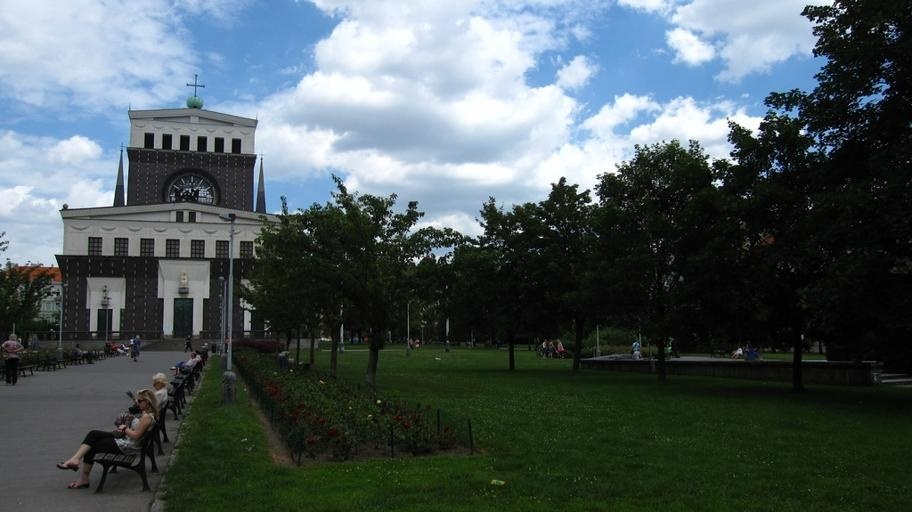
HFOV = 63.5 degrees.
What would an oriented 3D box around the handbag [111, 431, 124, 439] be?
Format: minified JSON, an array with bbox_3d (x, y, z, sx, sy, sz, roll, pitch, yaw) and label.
[{"bbox_3d":[-13.344,7.068,29.039,0.674,0.154,0.470,-4,-7,34],"label":"handbag"}]
